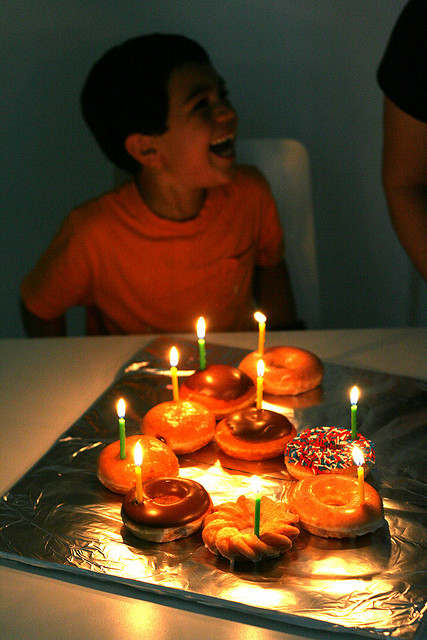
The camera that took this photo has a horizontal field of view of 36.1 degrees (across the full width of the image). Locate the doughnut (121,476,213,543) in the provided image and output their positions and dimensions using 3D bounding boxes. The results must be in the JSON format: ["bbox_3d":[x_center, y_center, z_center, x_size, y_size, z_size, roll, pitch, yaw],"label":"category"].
[{"bbox_3d":[-0.104,0.413,1.429,0.195,0.085,0.169,-6,7,-29],"label":"doughnut"}]

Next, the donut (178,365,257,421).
[{"bbox_3d":[0.018,0.196,1.907,0.181,0.094,0.169,2,5,9],"label":"donut"}]

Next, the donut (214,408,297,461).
[{"bbox_3d":[0.111,0.303,1.731,0.222,0.112,0.179,-2,6,7],"label":"donut"}]

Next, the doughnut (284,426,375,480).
[{"bbox_3d":[0.295,0.343,1.655,0.244,0.076,0.231,-4,12,16],"label":"doughnut"}]

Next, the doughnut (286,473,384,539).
[{"bbox_3d":[0.264,0.409,1.446,0.195,0.077,0.218,-4,6,-17],"label":"doughnut"}]

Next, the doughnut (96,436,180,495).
[{"bbox_3d":[-0.185,0.342,1.596,0.148,0.066,0.137,1,13,-1],"label":"doughnut"}]

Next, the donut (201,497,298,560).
[{"bbox_3d":[0.083,0.433,1.363,0.218,0.064,0.219,-4,6,-14],"label":"donut"}]

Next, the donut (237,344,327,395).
[{"bbox_3d":[0.205,0.159,2.061,0.259,0.086,0.256,-24,28,-37],"label":"donut"}]
